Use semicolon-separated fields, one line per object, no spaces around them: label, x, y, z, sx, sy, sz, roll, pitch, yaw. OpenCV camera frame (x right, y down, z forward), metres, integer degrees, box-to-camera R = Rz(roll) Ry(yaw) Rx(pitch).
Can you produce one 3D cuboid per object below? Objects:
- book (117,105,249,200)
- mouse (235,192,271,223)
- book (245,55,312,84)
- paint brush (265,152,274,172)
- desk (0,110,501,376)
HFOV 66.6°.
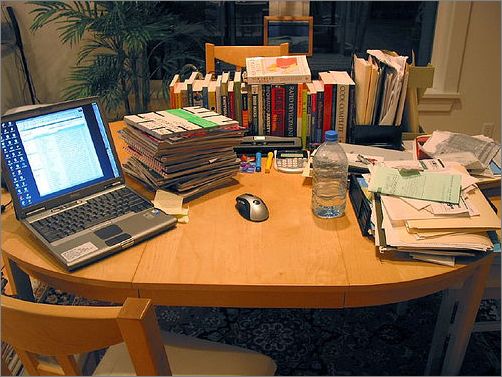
book;-0.252;-0.159;1.463;0.442;0.246;0.369;-22;39;-32
mouse;0.002;0.051;1.359;0.105;0.051;0.147;-11;41;-28
book;0.114;-0.538;1.724;0.280;0.093;0.218;-1;29;-1
paint brush;0.079;-0.112;1.636;0.025;0.024;0.105;-37;23;23
desk;-0.004;0.217;1.158;1.271;0.587;0.629;2;52;1
